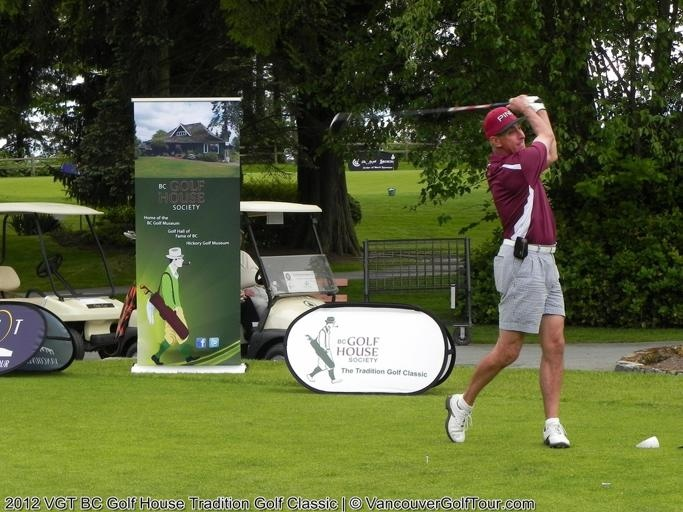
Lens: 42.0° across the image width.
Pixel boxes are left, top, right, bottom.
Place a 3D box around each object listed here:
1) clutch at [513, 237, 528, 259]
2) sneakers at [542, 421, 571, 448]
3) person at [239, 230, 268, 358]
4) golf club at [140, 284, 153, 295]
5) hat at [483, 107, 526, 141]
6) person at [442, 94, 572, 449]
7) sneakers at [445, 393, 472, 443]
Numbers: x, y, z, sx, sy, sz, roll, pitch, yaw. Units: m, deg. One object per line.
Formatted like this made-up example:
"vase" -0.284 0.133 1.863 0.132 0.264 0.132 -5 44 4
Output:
"clutch" 1.370 -0.057 6.854 0.102 0.170 0.023 0 5 6
"sneakers" 1.609 1.342 6.699 0.204 0.193 0.168 1 5 16
"person" -1.153 0.524 11.629 0.328 1.319 1.347 -1 5 -6
"golf club" -2.172 0.374 9.894 0.144 0.103 0.021 1 5 15
"hat" 1.265 -1.051 7.148 0.258 0.151 0.209 -25 15 41
"person" 1.392 0.077 6.933 1.017 2.693 0.878 -3 5 -31
"sneakers" 0.902 1.256 6.956 0.194 0.333 0.281 0 5 8
